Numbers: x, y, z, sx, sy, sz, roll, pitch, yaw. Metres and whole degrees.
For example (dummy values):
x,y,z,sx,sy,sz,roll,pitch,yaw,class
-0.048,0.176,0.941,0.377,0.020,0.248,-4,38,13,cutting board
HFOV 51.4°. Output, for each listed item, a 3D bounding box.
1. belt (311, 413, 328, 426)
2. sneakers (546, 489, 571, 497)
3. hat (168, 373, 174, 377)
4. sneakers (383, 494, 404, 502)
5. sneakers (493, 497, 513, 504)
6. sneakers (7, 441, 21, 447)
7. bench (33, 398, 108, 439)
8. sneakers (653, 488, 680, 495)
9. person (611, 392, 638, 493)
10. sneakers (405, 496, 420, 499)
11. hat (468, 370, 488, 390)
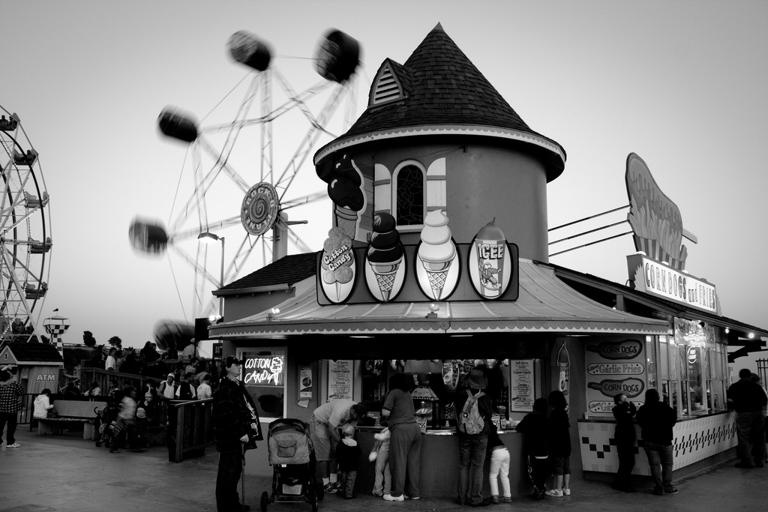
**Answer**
x,y,z,sx,sy,sz,roll,pitch,yaw,class
-1.554,3.895,18.905,0.272,0.210,0.233,-4,6,-26,belt
4.143,5.655,19.112,0.564,0.259,0.221,0,-6,19,sneakers
-7.150,4.035,26.681,0.237,0.156,0.367,2,-12,-6,hat
0.209,5.669,18.564,0.436,0.219,0.173,3,-11,10,sneakers
2.745,5.718,18.600,0.374,0.184,0.172,-1,-3,26,sneakers
-11.120,5.711,23.923,0.304,0.159,0.134,0,4,-29,sneakers
-10.490,5.458,26.619,2.270,1.106,0.901,-1,-4,22,bench
6.821,5.739,19.437,0.633,0.174,0.230,4,-13,-15,sneakers
5.963,4.662,19.865,0.583,2.321,0.273,-2,-11,14,person
0.683,5.686,18.660,0.350,0.093,0.229,2,-12,-8,sneakers
2.184,2.971,18.880,0.356,0.178,0.416,-13,22,-35,hat
